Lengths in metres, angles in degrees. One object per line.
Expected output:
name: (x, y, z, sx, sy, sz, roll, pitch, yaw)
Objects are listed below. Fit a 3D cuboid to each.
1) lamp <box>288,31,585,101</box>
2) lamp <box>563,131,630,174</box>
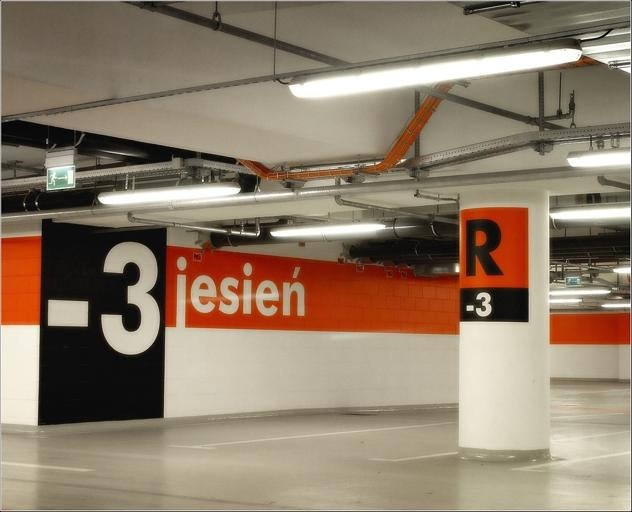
lamp: (0.753, -1.218, 4.048, 1.805, 0.284, 0.233, -1, 0, 17)
lamp: (3.048, -1.079, 6.707, 0.593, 0.229, 0.584, 2, -2, 30)
